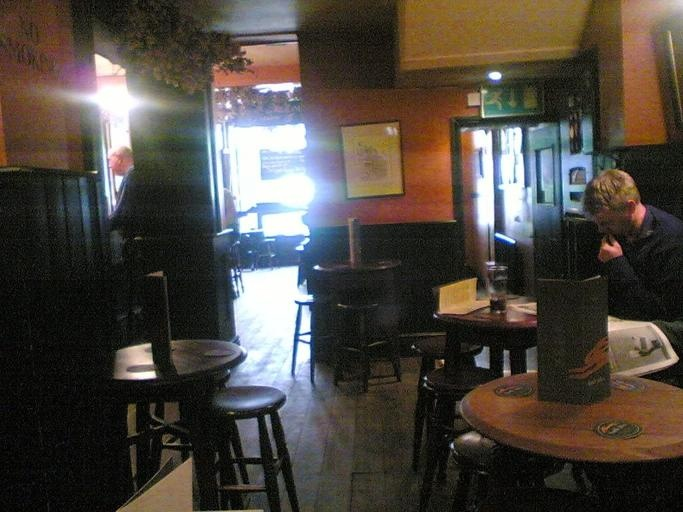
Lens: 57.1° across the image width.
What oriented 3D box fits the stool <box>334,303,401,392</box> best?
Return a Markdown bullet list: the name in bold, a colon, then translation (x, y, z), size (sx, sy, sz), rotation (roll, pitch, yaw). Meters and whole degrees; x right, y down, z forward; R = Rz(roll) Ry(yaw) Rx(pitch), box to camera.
- **stool**: translation (0.192, 0.744, 5.007), size (0.495, 0.732, 0.512), rotation (-9, 14, -32)
